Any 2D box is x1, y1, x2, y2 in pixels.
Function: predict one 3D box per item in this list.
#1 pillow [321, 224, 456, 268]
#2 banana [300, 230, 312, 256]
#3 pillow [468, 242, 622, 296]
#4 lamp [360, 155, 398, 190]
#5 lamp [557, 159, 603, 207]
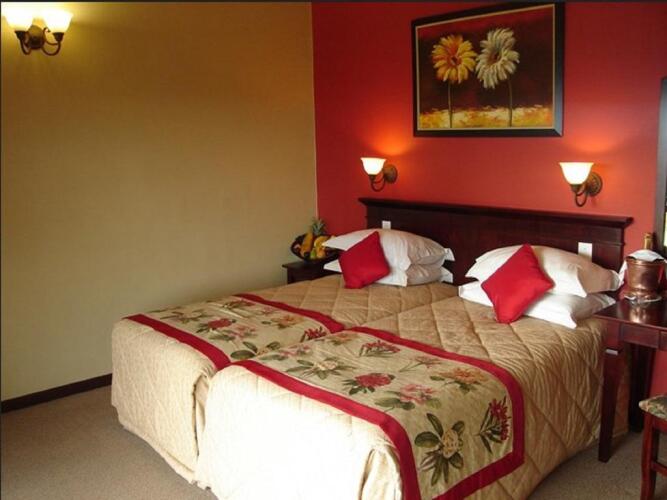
[{"bbox_3d":[0.438,-0.036,4.041,0.616,0.197,0.445,8,11,43],"label":"pillow"},{"bbox_3d":[-0.272,-0.070,4.758,0.094,0.079,0.229,6,58,14],"label":"banana"},{"bbox_3d":[1.425,0.119,3.249,0.441,0.173,0.542,-18,23,-30],"label":"pillow"},{"bbox_3d":[0.426,-0.716,4.434,0.325,0.356,0.275,-17,19,-40],"label":"lamp"},{"bbox_3d":[1.671,-0.463,3.249,0.325,0.352,0.222,-4,7,-39],"label":"lamp"}]
